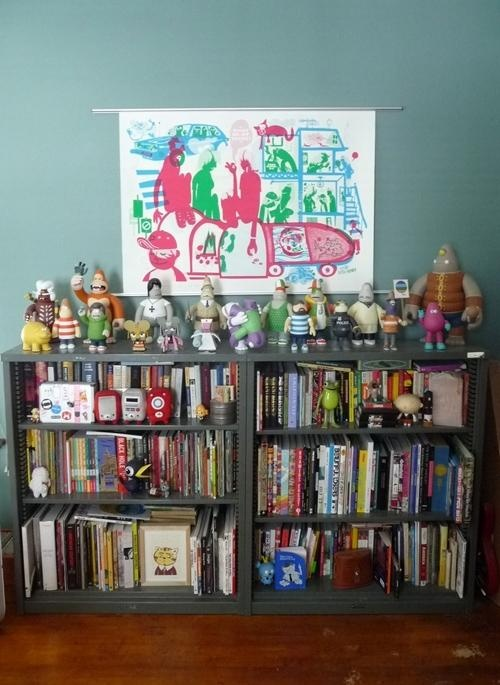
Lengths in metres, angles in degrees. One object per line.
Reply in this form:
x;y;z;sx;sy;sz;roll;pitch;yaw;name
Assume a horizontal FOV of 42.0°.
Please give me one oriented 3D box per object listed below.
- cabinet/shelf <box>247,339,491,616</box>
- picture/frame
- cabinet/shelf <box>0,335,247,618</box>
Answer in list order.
0.395;0.453;2.222;0.948;1.042;0.314;-1;10;-3;cabinet/shelf
-0.294;0.723;2.238;0.252;0.285;0.033;1;12;2;picture/frame
-0.419;0.452;2.205;0.972;1.024;0.368;0;10;1;cabinet/shelf
